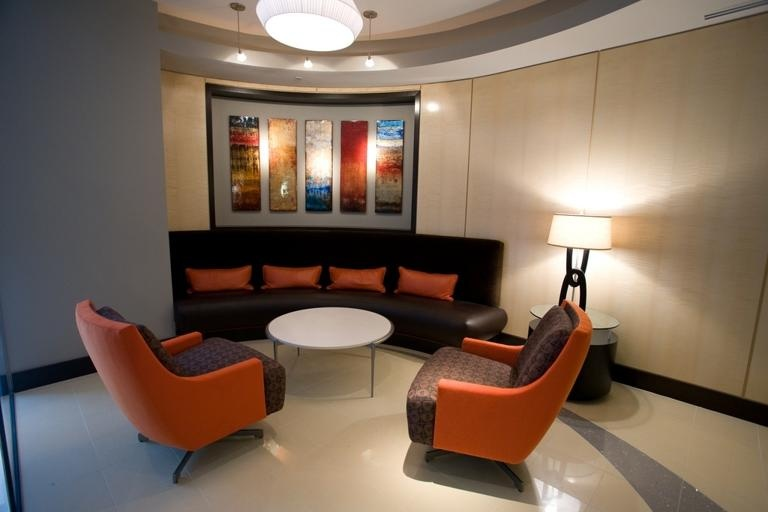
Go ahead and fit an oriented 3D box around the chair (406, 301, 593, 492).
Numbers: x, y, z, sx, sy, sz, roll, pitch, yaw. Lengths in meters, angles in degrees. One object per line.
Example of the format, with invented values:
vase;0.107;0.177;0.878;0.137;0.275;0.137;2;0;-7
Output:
chair;1.005;1.160;4.619;1.469;1.584;1.228;11;17;25

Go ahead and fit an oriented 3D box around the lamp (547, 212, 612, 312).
lamp;2.110;0.046;5.428;0.627;0.996;0.450;6;11;24

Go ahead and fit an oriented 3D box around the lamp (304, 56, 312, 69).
lamp;-0.897;-2.289;5.905;0.099;0.142;0.101;2;19;0

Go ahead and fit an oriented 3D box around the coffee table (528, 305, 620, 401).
coffee table;1.987;1.001;5.483;0.916;0.946;0.955;1;8;5

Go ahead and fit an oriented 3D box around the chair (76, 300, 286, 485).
chair;-1.840;1.117;4.687;1.117;1.624;1.620;11;17;36
